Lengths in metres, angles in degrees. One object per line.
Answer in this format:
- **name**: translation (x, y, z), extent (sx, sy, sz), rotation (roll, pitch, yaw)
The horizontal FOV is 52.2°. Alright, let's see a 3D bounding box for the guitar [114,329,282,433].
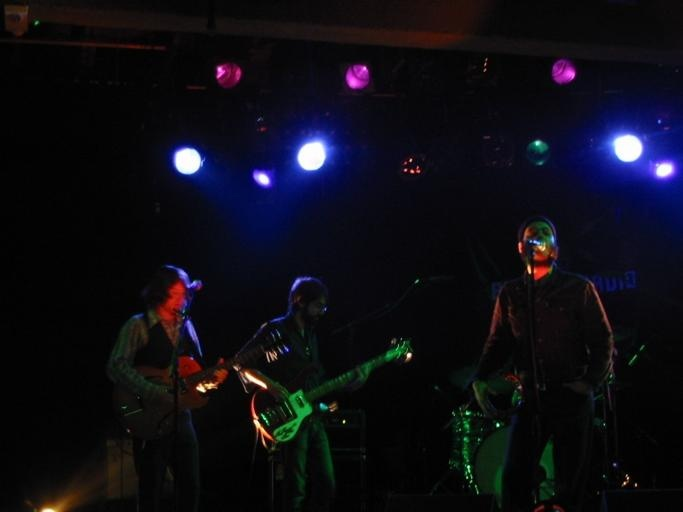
- **guitar**: translation (-1.254, 1.136, 6.613), extent (1.732, 0.734, 0.233), rotation (-23, -28, -24)

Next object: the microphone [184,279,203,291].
- **microphone**: translation (-1.369, 0.262, 6.438), extent (0.112, 0.087, 0.198), rotation (15, -11, -36)
